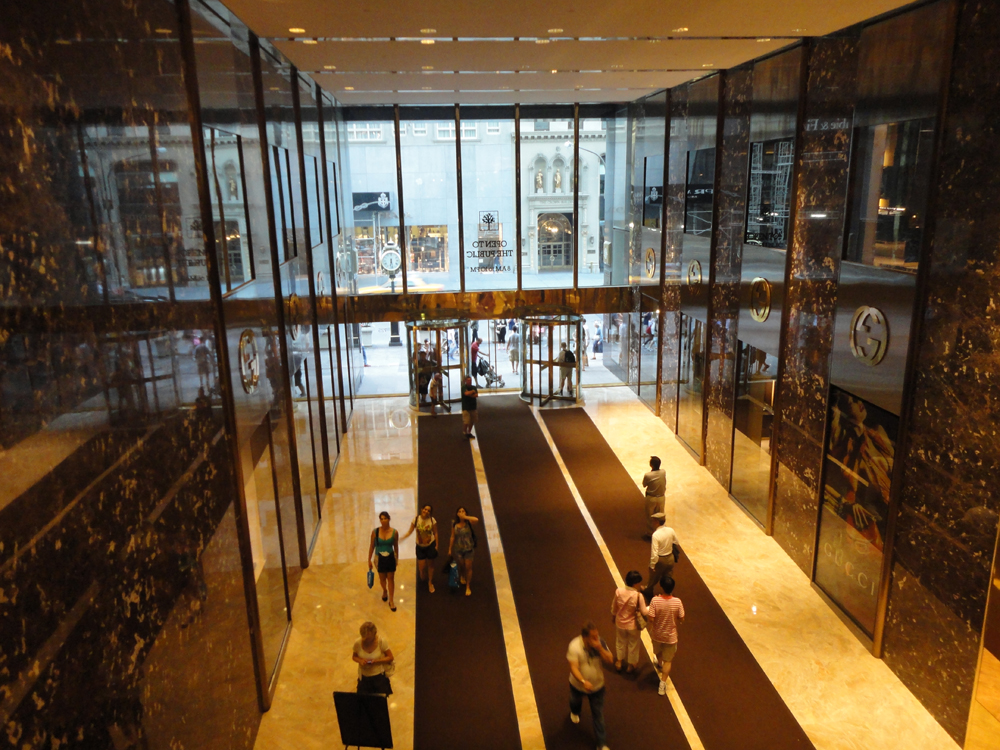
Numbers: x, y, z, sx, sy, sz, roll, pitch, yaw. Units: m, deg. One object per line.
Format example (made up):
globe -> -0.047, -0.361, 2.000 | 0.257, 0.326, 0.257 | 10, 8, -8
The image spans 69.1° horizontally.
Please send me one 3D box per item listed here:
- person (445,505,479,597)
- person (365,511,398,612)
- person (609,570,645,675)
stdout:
person -> -0.605, 2.601, 11.365 | 0.439, 1.354, 0.931 | -3, 13, -3
person -> -1.762, 2.677, 10.929 | 0.419, 1.487, 0.870 | -3, 13, -6
person -> 1.673, 3.123, 9.455 | 0.382, 1.534, 0.694 | 0, 13, 10
